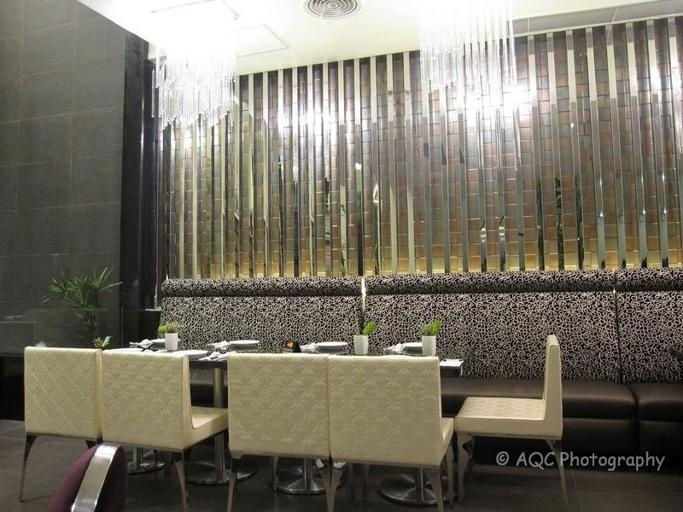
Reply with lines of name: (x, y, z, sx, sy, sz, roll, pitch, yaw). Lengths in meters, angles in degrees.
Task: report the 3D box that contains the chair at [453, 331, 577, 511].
chair: (1.168, 1.098, 3.899, 0.725, 1.149, 0.628, -1, 0, 23)
